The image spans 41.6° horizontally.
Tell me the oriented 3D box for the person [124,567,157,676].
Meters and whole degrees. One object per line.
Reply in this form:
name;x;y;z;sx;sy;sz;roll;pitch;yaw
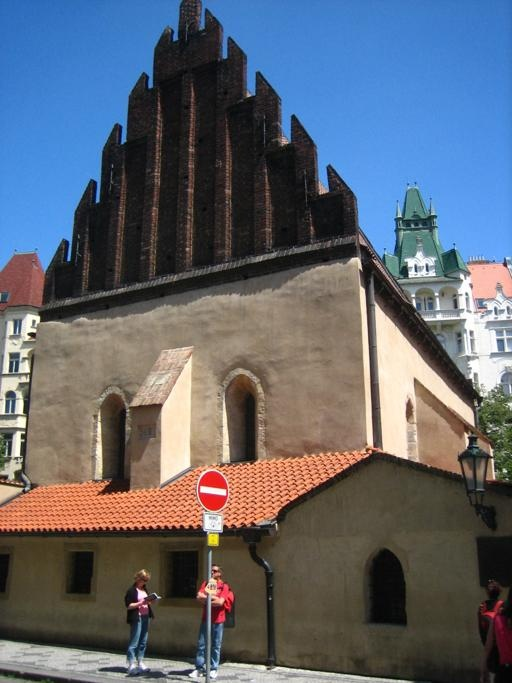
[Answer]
person;-1.651;3.997;9.535;0.420;1.383;0.593;2;-16;-10

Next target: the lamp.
lamp;2.794;1.785;8.549;0.393;1.240;0.664;-6;-16;17

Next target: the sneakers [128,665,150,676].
sneakers;-1.656;4.622;9.444;0.295;0.119;0.171;-16;-36;25

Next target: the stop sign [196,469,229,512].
stop sign;-0.500;1.756;7.865;0.016;0.505;0.560;-16;-26;37

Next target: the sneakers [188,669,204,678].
sneakers;-0.800;4.515;9.101;0.204;0.086;0.116;19;-27;-33

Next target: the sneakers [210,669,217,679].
sneakers;-0.557;4.406;8.870;0.096;0.102;0.151;1;-29;-2
